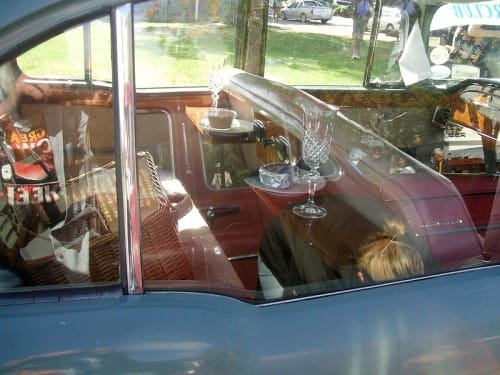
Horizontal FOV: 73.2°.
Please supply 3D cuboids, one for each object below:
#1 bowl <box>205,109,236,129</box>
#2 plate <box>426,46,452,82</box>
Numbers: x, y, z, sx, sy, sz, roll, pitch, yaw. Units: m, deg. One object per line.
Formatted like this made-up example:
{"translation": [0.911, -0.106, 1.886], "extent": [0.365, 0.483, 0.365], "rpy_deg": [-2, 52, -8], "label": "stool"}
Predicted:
{"translation": [-0.116, -0.286, 1.351], "extent": [0.104, 0.051, 0.104], "rpy_deg": [1, 22, -1], "label": "bowl"}
{"translation": [0.939, -0.630, 1.670], "extent": [0.020, 0.136, 0.091], "rpy_deg": [1, 7, -34], "label": "plate"}
